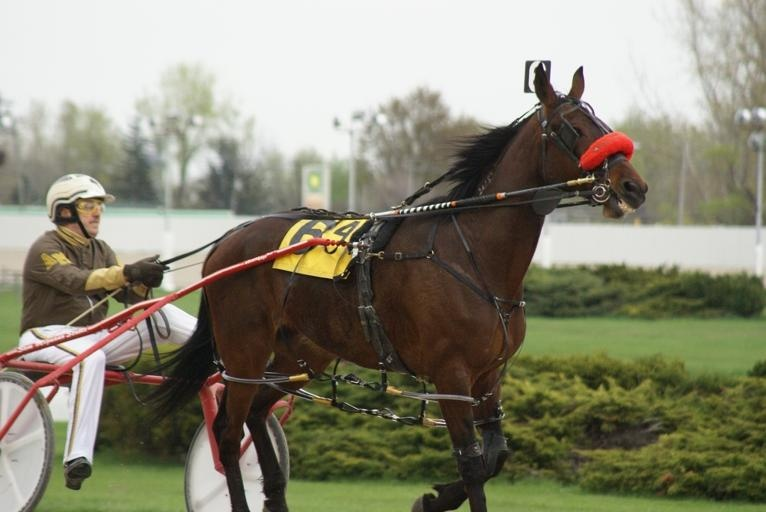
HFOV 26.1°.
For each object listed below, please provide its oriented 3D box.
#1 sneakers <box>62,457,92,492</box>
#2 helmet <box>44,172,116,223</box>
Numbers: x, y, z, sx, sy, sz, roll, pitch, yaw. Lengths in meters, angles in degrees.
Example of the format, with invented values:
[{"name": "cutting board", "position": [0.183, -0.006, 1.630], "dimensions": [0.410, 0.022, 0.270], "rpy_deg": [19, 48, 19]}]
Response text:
[{"name": "sneakers", "position": [-2.742, 1.946, 14.717], "dimensions": [0.168, 0.354, 0.163], "rpy_deg": [16, 36, -27]}, {"name": "helmet", "position": [-2.852, -0.530, 15.421], "dimensions": [0.554, 0.332, 0.403], "rpy_deg": [-19, -11, 14]}]
